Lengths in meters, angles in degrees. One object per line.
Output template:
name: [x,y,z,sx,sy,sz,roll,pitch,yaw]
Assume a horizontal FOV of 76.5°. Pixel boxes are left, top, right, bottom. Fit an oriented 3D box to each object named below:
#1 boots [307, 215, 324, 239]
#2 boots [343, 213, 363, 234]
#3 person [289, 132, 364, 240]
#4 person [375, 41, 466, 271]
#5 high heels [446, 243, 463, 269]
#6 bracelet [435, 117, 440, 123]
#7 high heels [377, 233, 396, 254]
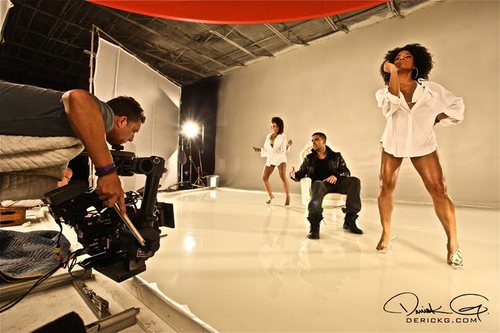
boots: [0.710,0.670,3.532,0.138,0.245,0.345,-1,-1,18]
boots: [1.212,0.653,3.713,0.108,0.226,0.324,3,6,-17]
person: [0.962,0.155,4.097,0.771,1.565,0.974,-10,-26,17]
person: [1.556,-0.192,2.924,0.697,2.038,0.613,2,-9,24]
high heels: [1.803,0.806,2.808,0.086,0.108,0.238,-9,-10,17]
bracelet: [1.714,-0.437,2.935,0.042,0.048,0.053,-1,-6,1]
high heels: [1.369,0.759,3.151,0.119,0.162,0.387,-7,-8,45]
